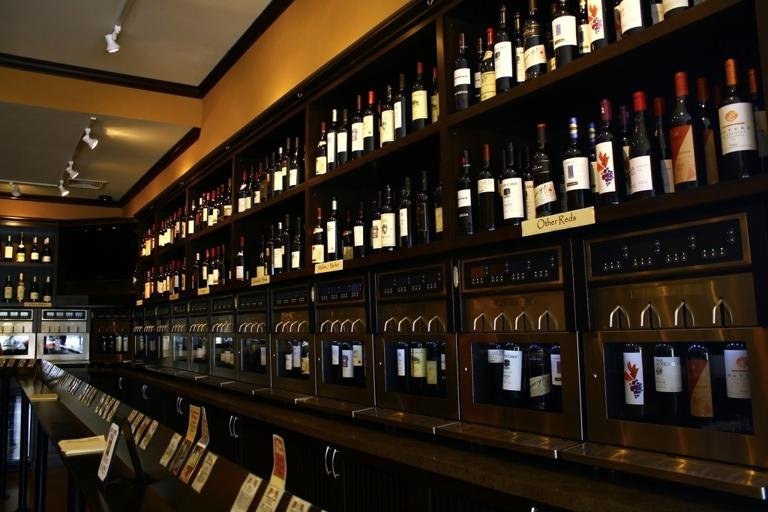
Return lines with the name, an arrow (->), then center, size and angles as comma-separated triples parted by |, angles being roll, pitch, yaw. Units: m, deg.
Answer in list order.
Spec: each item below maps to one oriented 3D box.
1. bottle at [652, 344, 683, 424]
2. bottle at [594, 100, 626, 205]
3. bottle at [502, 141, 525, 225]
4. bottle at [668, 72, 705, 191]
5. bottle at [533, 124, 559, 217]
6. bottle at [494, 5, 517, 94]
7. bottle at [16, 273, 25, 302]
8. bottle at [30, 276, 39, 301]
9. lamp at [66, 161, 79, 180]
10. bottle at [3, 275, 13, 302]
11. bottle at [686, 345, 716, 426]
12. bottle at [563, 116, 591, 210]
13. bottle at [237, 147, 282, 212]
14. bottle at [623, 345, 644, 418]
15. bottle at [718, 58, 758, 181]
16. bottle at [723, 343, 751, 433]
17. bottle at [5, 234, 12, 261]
bottle -> 1.177, 0.530, 2.516 | 0.107, 0.324, 0.077 | -6, -9, 24
bottle -> 1.016, -0.472, 2.781 | 0.123, 0.542, 0.362 | -5, -8, 22
bottle -> 0.626, -0.350, 2.989 | 0.115, 0.422, 0.180 | -4, -8, 11
bottle -> 1.276, -0.512, 2.570 | 0.112, 0.511, 0.255 | -9, -10, 40
bottle -> 0.751, -0.399, 2.880 | 0.103, 0.457, 0.195 | -5, -8, 15
bottle -> 0.599, -1.027, 3.054 | 0.102, 0.506, 0.258 | -4, -8, 14
bottle -> -4.771, 0.405, 7.936 | 0.099, 0.373, 0.153 | 2, -9, -29
bottle -> -4.601, 0.425, 7.957 | 0.101, 0.342, 0.240 | 2, -9, -31
lamp -> -3.508, -0.974, 6.790 | 0.142, 0.167, 0.153 | -20, 0, 20
bottle -> -4.904, 0.423, 7.899 | 0.126, 0.346, 0.083 | 4, -10, -39
bottle -> 1.276, 0.511, 2.453 | 0.088, 0.304, 0.036 | -7, -9, 28
bottle -> 0.880, -0.421, 2.790 | 0.119, 0.449, 0.208 | -5, -8, 19
bottle -> -0.978, -0.589, 4.723 | 0.096, 0.315, 0.495 | 3, -5, -32
bottle -> 1.061, 0.537, 2.583 | 0.090, 0.313, 0.074 | -5, -8, 20
bottle -> 1.391, -0.536, 2.394 | 0.123, 0.493, 0.125 | -2, -8, 0
bottle -> 1.380, 0.513, 2.367 | 0.087, 0.345, 0.105 | -6, -9, 27
bottle -> -4.938, -0.111, 7.943 | 0.114, 0.355, 0.228 | 3, -9, -32
